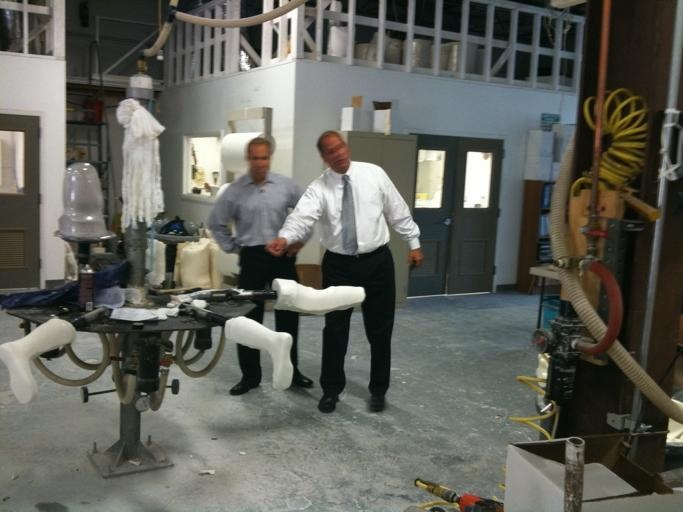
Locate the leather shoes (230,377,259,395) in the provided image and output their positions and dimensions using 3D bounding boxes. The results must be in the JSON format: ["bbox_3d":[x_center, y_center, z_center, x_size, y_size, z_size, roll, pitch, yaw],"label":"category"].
[{"bbox_3d":[-0.702,0.950,4.477,0.237,0.089,0.086,-4,2,-39],"label":"leather shoes"}]

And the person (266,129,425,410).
[{"bbox_3d":[0.062,0.104,4.230,1.021,1.870,0.652,-6,14,-38],"label":"person"}]

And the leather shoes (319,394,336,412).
[{"bbox_3d":[-0.096,1.007,4.211,0.114,0.080,0.187,4,10,10],"label":"leather shoes"}]

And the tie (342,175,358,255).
[{"bbox_3d":[0.047,-0.273,4.143,0.105,0.523,0.212,1,11,-10],"label":"tie"}]
